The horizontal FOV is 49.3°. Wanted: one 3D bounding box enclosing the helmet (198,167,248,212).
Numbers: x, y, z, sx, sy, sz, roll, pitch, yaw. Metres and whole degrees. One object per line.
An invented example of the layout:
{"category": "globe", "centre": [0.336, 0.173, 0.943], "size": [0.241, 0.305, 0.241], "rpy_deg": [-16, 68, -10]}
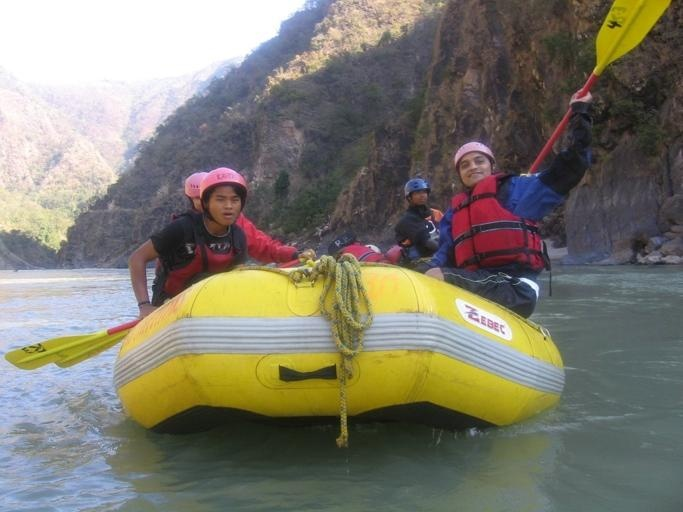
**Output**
{"category": "helmet", "centre": [-1.010, -0.569, 6.342], "size": [0.394, 0.359, 0.327], "rpy_deg": [-4, 11, -10]}

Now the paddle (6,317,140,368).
{"category": "paddle", "centre": [-2.675, 0.860, 7.325], "size": [1.280, 0.316, 0.142], "rpy_deg": [-18, 15, 11]}

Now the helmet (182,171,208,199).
{"category": "helmet", "centre": [-1.457, -0.731, 7.448], "size": [0.271, 0.208, 0.389], "rpy_deg": [0, 0, -17]}
